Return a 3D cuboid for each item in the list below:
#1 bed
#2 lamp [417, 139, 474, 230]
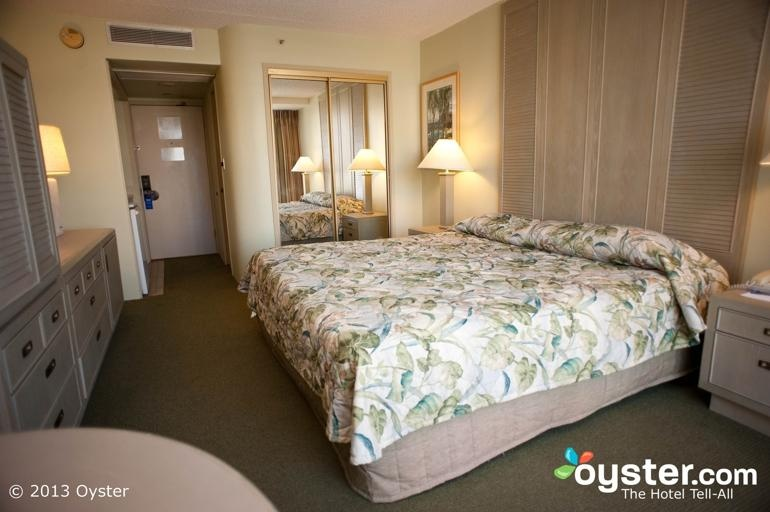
[{"bbox_3d":[0.539,0.442,2.620,1.748,0.507,1.700,-15,24,-22],"label":"bed"},{"bbox_3d":[0.617,-0.784,4.852,0.480,0.940,0.474,5,9,-29],"label":"lamp"}]
